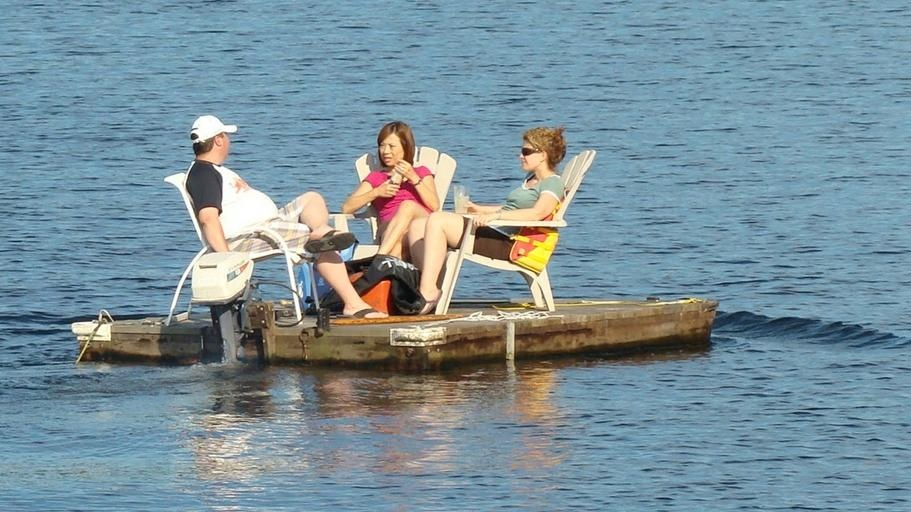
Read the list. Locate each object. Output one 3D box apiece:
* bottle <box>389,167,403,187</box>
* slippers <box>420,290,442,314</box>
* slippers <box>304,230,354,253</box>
[{"bbox_3d":[-0.980,-1.456,36.049,0.225,0.340,0.223,-1,30,0],"label":"bottle"},{"bbox_3d":[-0.365,0.829,35.848,0.290,0.435,0.355,32,-4,-14],"label":"slippers"},{"bbox_3d":[-2.041,-0.255,35.124,1.145,0.263,0.334,-7,26,-3],"label":"slippers"}]
